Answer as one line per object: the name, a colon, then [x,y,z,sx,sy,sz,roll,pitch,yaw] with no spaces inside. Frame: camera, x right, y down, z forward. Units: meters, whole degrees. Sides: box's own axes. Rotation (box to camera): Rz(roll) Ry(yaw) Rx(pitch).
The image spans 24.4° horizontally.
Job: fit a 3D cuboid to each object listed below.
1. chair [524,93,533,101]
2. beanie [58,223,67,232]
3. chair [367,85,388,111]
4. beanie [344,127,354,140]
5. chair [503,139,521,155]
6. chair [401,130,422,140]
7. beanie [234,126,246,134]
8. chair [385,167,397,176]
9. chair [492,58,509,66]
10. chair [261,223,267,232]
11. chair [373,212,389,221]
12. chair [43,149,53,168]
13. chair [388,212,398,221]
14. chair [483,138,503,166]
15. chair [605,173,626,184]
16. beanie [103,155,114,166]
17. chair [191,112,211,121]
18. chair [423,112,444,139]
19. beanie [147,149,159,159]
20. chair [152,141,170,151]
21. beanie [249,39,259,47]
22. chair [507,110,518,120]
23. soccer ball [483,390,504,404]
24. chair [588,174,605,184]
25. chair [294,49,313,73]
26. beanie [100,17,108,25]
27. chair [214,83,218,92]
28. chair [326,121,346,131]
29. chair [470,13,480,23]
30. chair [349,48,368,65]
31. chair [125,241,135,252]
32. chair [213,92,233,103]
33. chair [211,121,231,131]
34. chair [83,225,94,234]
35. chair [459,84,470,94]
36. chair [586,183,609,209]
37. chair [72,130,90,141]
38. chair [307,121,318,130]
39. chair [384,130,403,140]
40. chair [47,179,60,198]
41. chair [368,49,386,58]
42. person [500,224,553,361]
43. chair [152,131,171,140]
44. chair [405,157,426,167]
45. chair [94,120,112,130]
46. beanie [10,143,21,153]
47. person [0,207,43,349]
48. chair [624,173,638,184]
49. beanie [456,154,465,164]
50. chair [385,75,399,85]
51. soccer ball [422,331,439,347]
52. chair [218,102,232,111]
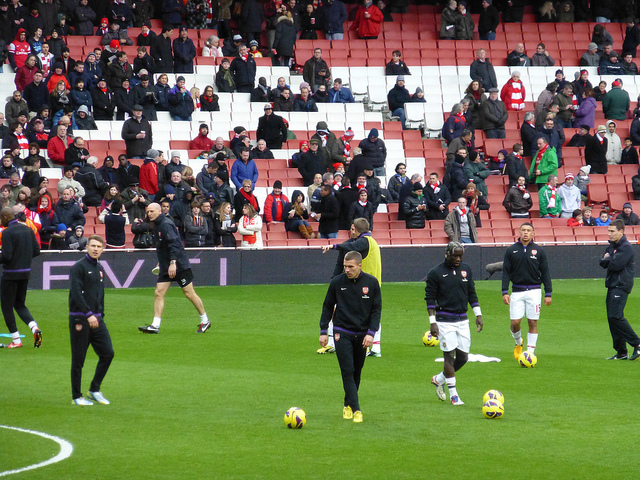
chair: [7.387,-5.039,52.145,0.351,0.284,0.209,0,-3,-5]
beanie: [-7.218,-0.327,41.128,0.226,0.199,0.268,-1,14,-10]
chair: [2.009,-4.891,50.830,0.679,1.060,0.739,0,2,-7]
beanie: [0.861,-3.288,45.801,0.307,0.308,0.226,10,14,36]
chair: [6.371,-3.158,49.138,0.508,0.816,0.558,0,-1,-8]
chair: [3.041,-3.504,49.390,0.659,0.275,0.455,1,14,1]
beanie: [-2.469,-3.347,44.856,0.235,0.216,0.200,-11,24,-1]
chair: [2.253,-2.225,47.903,0.385,0.259,0.437,1,21,-13]
chair: [6.507,-6.441,53.501,0.595,0.252,0.419,-2,14,-11]
chair: [-1.684,-0.372,44.417,0.147,0.189,0.300,1,14,3]
chair: [1.899,-0.722,45.948,0.538,0.239,0.338,-2,14,-10]
chair: [-8.184,-2.426,44.116,0.184,0.461,0.593,-5,15,-25]
chair: [2.270,-0.725,46.129,0.231,0.313,0.238,2,9,-2]
chair: [5.655,-2.902,48.740,0.673,1.063,0.762,1,-2,-13]
chair: [9.727,-2.012,48.581,0.467,0.539,0.371,1,-6,-12]
beanie: [-6.181,-2.291,42.978,0.252,0.349,0.388,0,-16,-9]
chair: [-3.859,-3.960,47.524,0.403,0.331,0.156,2,-4,-4]
chair: [3.817,-3.837,49.840,0.677,1.009,0.748,0,4,-13]
beanie: [-4.887,-2.498,42.996,0.272,0.246,0.223,-6,25,-28]
chair: [-5.009,-2.938,46.196,0.573,0.258,0.334,-3,14,-17]
beanie: [-2.253,-6.584,49.430,0.320,0.189,0.476,-1,-5,-8]
chair: [6.640,-4.269,50.731,0.332,0.401,0.263,0,-6,1]
soccer ball: [3.622,3.246,30.772,0.276,0.385,0.309,-4,-1,9]
chair: [9.063,-1.840,48.313,0.463,0.556,0.276,0,-7,-8]
chair: [-0.643,-6.247,51.606,0.639,1.042,0.797,1,2,-5]
beanie: [-7.086,-7.162,48.268,0.170,0.279,0.235,5,2,-11]
chair: [-3.479,-5.025,48.920,0.190,0.408,0.259,1,5,2]
chair: [0.525,-3.762,48.793,0.592,0.253,0.467,-1,14,-9]
chair: [5.861,-8.412,56.010,0.317,0.319,0.802,1,14,1]
chair: [1.355,-6.492,52.299,0.408,0.633,0.455,1,14,-3]
chair: [-5.580,0.173,42.920,0.188,0.226,0.374,3,0,-15]
chair: [-3.140,-4.647,48.494,0.512,0.402,0.324,0,-1,-10]
chair: [-3.205,-3.654,47.445,0.623,0.268,0.301,0,13,-5]
chair: [-6.762,-0.303,43.089,0.265,0.197,0.384,-2,14,-11]
chair: [5.043,-5.298,51.831,0.308,0.311,0.646,2,14,6]
chair: [9.071,-1.432,48.258,0.684,1.054,0.794,0,-1,-1]
chair: [-7.366,-3.197,45.162,0.392,0.365,0.852,2,14,6]
chair: [-0.273,-3.740,48.425,0.232,0.294,0.318,-3,-5,-12]
chair: [2.434,-3.508,49.288,0.641,0.265,0.506,0,14,-6]
chair: [-7.912,-1.619,43.605,0.286,0.453,0.317,1,1,-7]
chair: [2.005,-6.624,52.506,0.707,0.263,0.379,-4,14,-18]
person: [4.742,1.237,33.964,1.084,3.124,0.695,3,12,9]
chair: [-5.002,-3.279,46.434,0.564,0.247,0.219,-2,13,-13]
chair: [3.118,-2.532,48.373,0.686,0.235,0.463,1,14,-2]
chair: [-6.798,-3.588,46.073,0.466,0.270,0.238,-2,13,-13]
beanie: [-8.903,-2.666,42.809,0.231,0.229,0.236,-4,8,7]
person: [-7.040,0.934,34.445,0.877,3.292,0.938,-2,12,-13]
chair: [10.290,-2.015,48.756,0.278,0.442,0.335,0,-2,2]
beanie: [4.291,-2.479,45.362,0.221,0.252,0.235,-12,20,-34]
chair: [2.429,-5.510,50.884,0.296,0.344,0.228,-1,2,5]
soccer ball: [2.618,2.348,35.084,0.325,0.394,0.454,4,14,15]
chair: [-3.124,-4.344,48.187,0.374,0.239,0.245,-3,14,-16]
